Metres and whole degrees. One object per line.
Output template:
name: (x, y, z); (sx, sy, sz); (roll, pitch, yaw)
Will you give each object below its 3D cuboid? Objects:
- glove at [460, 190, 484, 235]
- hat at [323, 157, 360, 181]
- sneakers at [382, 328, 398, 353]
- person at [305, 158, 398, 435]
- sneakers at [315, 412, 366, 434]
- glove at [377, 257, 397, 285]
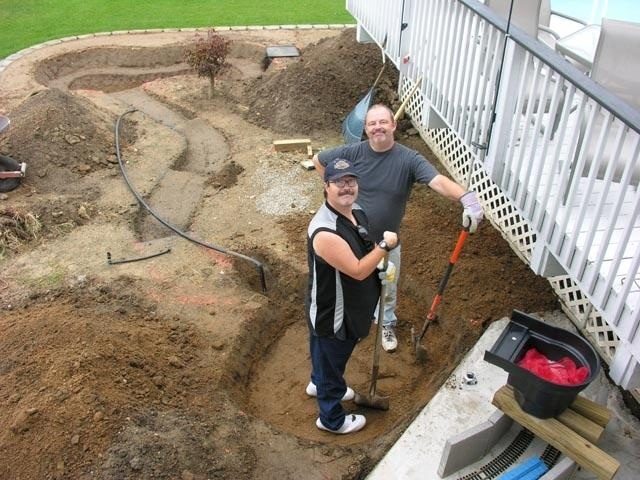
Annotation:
glove: (1.580, -0.285, 5.449); (0.179, 0.278, 0.410); (-3, 71, -41)
hat: (0.167, -0.674, 5.032); (0.207, 0.175, 0.280); (-1, 3, -17)
sneakers: (0.895, 1.279, 6.812); (0.154, 0.184, 0.427); (-4, 53, -4)
person: (0.357, 0.652, 5.615); (1.121, 3.478, 1.310); (-3, 38, -2)
sneakers: (0.246, 2.061, 5.927); (0.526, 0.219, 0.225); (-4, 37, -3)
glove: (0.685, 0.317, 5.401); (0.194, 0.114, 0.268); (-5, 77, 2)
